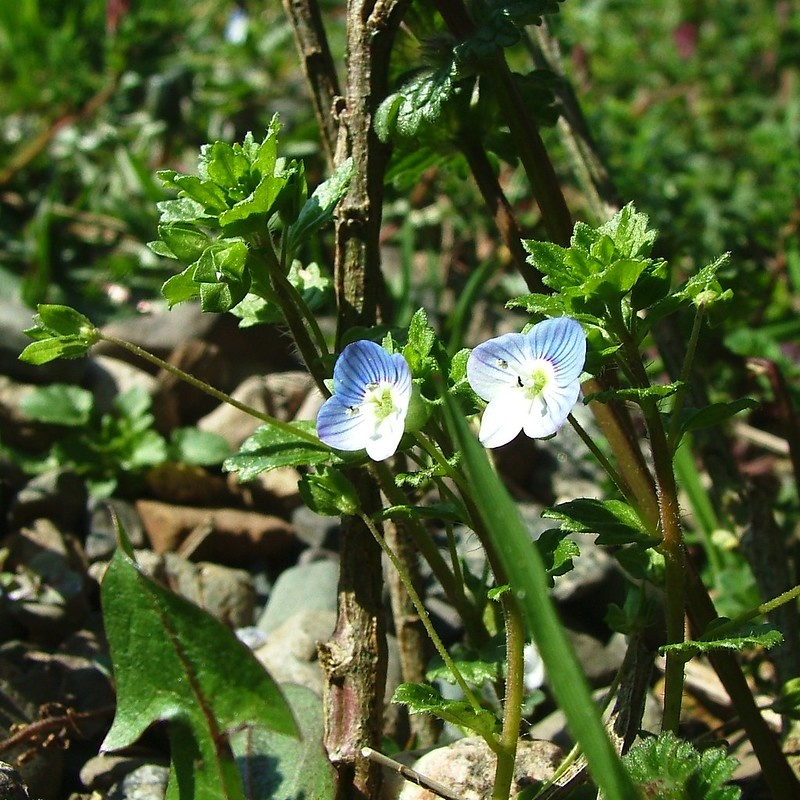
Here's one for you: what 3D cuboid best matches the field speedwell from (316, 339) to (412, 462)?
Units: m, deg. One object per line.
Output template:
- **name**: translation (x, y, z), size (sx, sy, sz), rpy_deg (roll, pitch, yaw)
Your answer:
- **field speedwell**: translation (-0.003, 0.005, 0.930), size (0.115, 0.103, 0.071), rpy_deg (-1, -13, 45)
